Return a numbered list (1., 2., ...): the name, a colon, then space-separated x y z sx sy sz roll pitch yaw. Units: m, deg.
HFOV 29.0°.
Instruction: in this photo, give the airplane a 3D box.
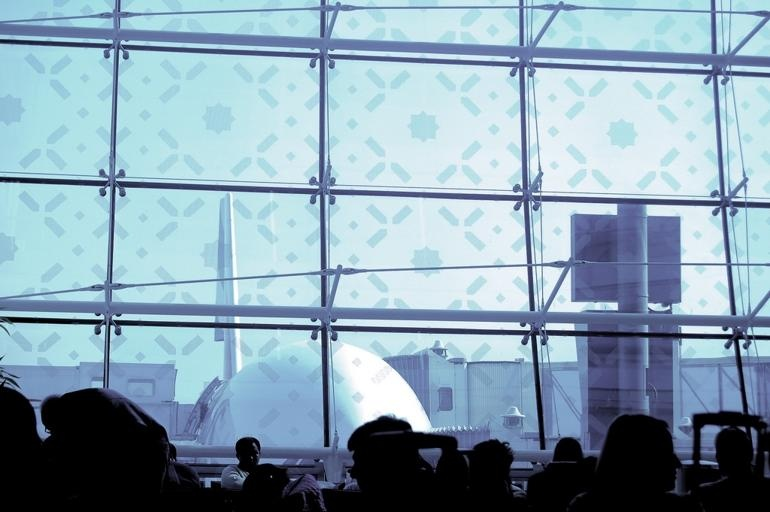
1. airplane: -0.885 1.167 18.077 2.132 3.253 4.142 12 -16 -40
